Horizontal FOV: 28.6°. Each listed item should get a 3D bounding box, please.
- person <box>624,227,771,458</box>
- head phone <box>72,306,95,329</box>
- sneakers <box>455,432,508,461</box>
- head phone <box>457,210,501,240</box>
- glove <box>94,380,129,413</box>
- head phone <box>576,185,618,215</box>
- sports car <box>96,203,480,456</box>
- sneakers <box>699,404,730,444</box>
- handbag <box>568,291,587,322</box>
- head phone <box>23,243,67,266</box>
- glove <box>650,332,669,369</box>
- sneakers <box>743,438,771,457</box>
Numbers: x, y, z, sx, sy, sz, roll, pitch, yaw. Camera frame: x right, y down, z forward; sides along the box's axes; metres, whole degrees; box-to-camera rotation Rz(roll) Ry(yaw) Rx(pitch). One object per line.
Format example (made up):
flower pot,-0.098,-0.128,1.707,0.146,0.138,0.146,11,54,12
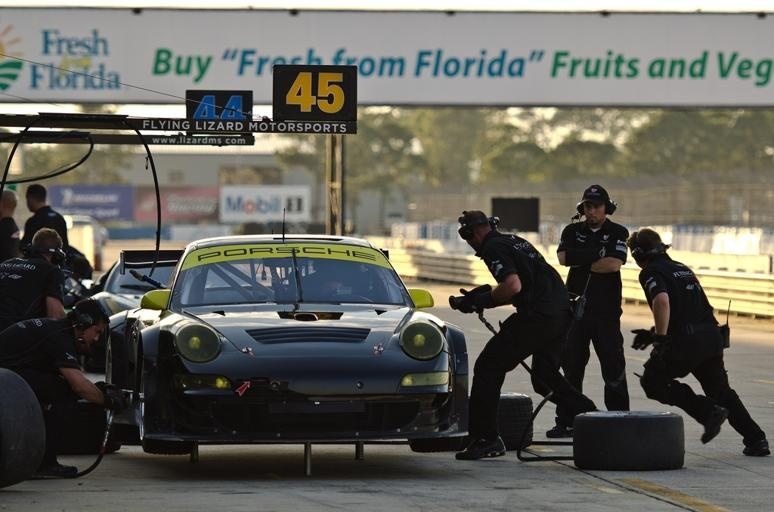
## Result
person,3.399,0.966,17.028,1.378,2.538,0.650,-1,1,7
head phone,-3.178,0.657,15.883,0.214,0.212,0.180,19,2,28
sneakers,1.016,2.127,16.539,0.656,0.206,0.221,0,-5,-15
head phone,0.980,-0.335,16.637,0.446,0.198,0.325,-2,0,1
glove,-2.874,1.486,16.005,0.353,0.143,0.324,23,16,-16
head phone,2.462,-0.666,17.998,0.364,0.254,0.458,-2,-15,13
sports car,-1.075,0.989,16.343,3.856,2.440,1.908,0,1,5
sneakers,3.573,1.919,16.803,0.262,0.503,0.193,26,32,-2
handbag,2.097,0.609,17.005,0.236,0.272,0.286,2,-37,1
head phone,-3.835,-0.016,17.137,0.377,0.141,0.248,8,1,-1
glove,2.999,1.044,17.007,0.240,0.347,0.150,0,1,21
sneakers,4.057,2.145,16.875,0.150,0.122,0.319,-2,2,-12
